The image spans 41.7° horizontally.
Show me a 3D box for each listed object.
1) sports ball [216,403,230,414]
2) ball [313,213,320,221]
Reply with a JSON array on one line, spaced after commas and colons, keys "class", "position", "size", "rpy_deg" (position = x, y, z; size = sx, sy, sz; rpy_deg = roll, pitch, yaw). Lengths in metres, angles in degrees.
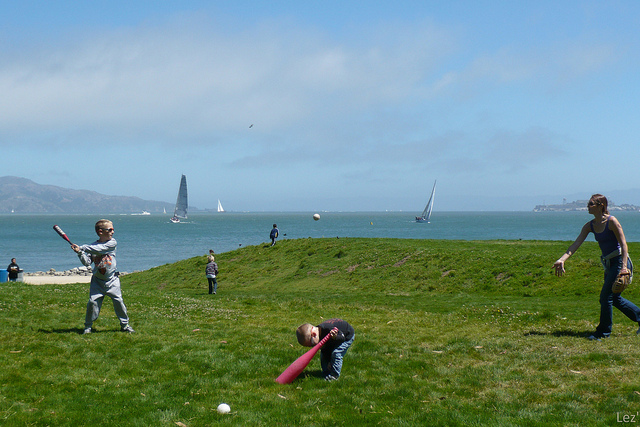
[{"class": "sports ball", "position": [-3.646, 7.322, 31.515], "size": [0.319, 0.240, 0.318], "rpy_deg": [1, 3, 0]}, {"class": "ball", "position": [-0.450, 0.431, 92.305], "size": [0.738, 0.568, 0.738], "rpy_deg": [0, -4, 0]}]
